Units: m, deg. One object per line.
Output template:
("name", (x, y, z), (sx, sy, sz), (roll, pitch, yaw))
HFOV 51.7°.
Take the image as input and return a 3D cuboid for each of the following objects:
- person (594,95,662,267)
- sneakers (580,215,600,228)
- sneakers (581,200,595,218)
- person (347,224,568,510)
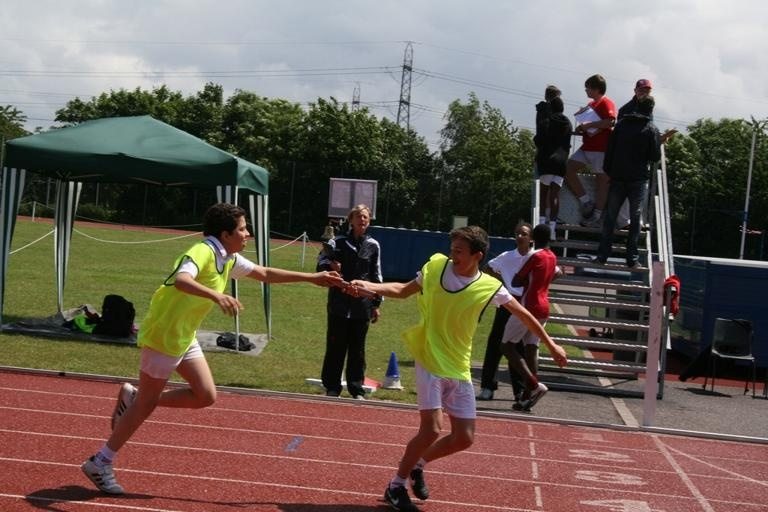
("person", (4.152, -1.278, 13.498), (0.866, 2.054, 0.425), (6, 4, 14))
("sneakers", (3.802, -0.654, 14.689), (0.326, 0.126, 0.177), (4, -2, 3))
("sneakers", (3.770, -0.869, 14.769), (0.167, 0.378, 0.183), (36, -29, -32))
("person", (0.600, 1.195, 8.474), (1.625, 3.069, 0.553), (6, 4, 8))
